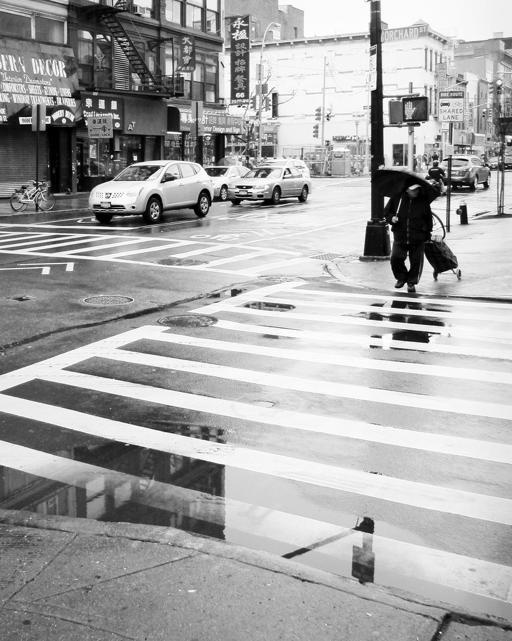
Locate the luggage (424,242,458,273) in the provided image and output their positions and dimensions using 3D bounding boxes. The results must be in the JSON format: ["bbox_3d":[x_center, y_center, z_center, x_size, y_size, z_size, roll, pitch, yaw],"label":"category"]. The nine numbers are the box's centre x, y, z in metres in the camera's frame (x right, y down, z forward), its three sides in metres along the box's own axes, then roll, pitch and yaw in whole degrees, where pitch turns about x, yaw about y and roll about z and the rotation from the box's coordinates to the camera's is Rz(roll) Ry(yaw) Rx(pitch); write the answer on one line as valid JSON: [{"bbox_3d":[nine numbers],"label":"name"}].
[{"bbox_3d":[3.180,-1.103,12.088,0.369,0.713,0.234,-33,7,-15],"label":"luggage"}]

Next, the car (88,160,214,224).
[{"bbox_3d":[-3.477,-4.390,23.492,1.537,2.064,4.549,6,12,35],"label":"car"}]

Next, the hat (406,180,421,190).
[{"bbox_3d":[2.559,-2.200,11.423,0.212,0.133,0.147,-7,12,-38],"label":"hat"}]

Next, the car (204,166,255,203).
[{"bbox_3d":[-1.600,-6.647,33.483,1.190,1.175,2.289,4,11,23],"label":"car"}]

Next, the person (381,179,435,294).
[{"bbox_3d":[2.530,-1.394,11.576,0.816,1.759,0.574,2,7,13],"label":"person"}]

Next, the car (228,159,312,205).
[{"bbox_3d":[0.629,-6.244,31.274,1.478,1.934,4.745,6,12,34],"label":"car"}]

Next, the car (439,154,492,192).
[{"bbox_3d":[12.387,-8.707,40.664,1.999,2.111,7.019,3,11,16],"label":"car"}]

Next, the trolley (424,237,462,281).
[{"bbox_3d":[3.086,-0.981,12.167,0.611,0.761,0.405,-2,-18,-47],"label":"trolley"}]

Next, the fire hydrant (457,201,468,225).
[{"bbox_3d":[6.536,-3.423,22.093,0.261,0.651,1.052,3,10,16],"label":"fire hydrant"}]
